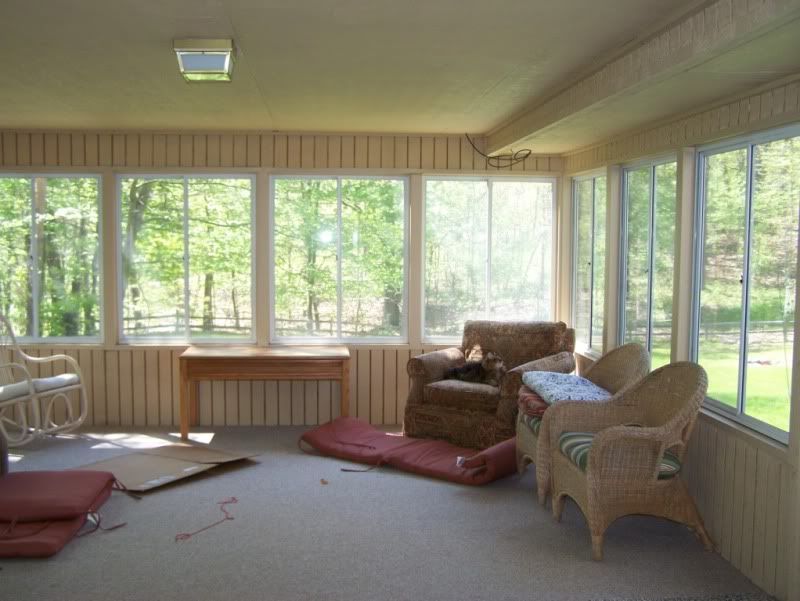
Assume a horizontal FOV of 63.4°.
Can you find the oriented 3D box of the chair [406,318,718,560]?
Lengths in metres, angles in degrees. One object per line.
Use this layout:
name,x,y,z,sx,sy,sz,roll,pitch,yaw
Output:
chair,1.003,0.802,5.042,1.566,1.139,2.654,-2,11,-12
